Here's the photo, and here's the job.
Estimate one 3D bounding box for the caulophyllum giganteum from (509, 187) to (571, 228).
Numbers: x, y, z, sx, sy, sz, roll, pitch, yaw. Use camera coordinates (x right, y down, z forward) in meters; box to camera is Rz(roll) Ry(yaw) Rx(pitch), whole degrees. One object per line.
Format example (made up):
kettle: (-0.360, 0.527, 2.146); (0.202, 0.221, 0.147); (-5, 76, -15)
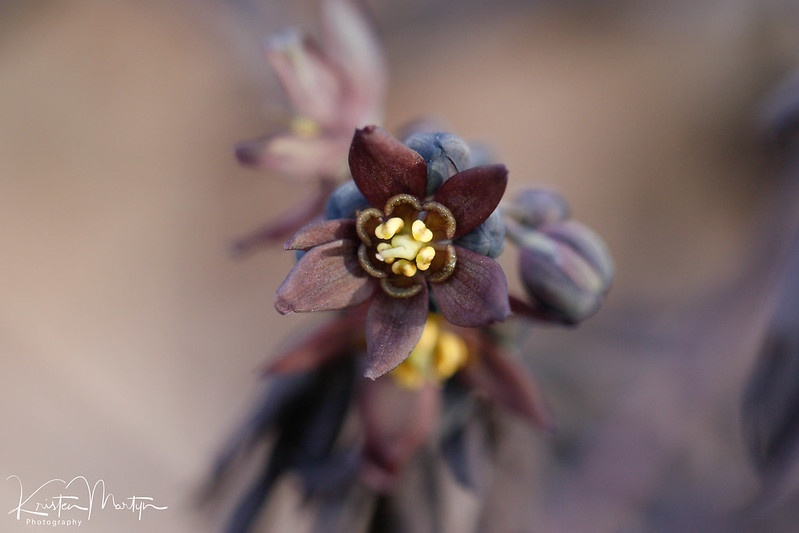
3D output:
caulophyllum giganteum: (0.257, -0.101, 1.548); (0.074, 0.089, 0.050); (-1, 72, 0)

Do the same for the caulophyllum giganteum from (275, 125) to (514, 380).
caulophyllum giganteum: (-0.014, -0.036, 1.425); (0.384, 0.326, 0.282); (-1, 38, -9)

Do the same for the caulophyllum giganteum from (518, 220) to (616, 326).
caulophyllum giganteum: (0.282, 0.005, 1.537); (0.193, 0.136, 0.121); (21, 40, 19)
